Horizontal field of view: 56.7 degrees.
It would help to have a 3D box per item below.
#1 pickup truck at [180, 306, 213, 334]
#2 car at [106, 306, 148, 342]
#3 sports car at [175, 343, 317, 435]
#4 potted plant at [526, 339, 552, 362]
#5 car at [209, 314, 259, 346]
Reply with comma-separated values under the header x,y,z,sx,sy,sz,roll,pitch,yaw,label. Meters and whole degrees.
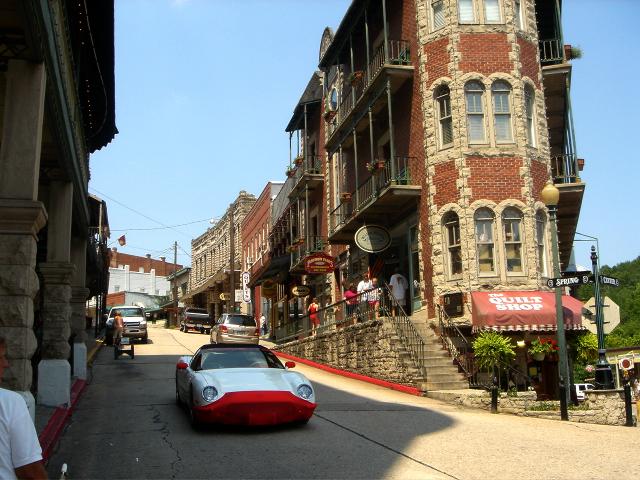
x,y,z,sx,sy,sz,roll,pitch,yaw,label
-9.536,6.268,45.993,2.639,2.010,1.586,-1,-10,13,pickup truck
-10.474,4.454,32.512,1.772,1.852,3.804,2,-14,-17,car
-1.498,2.783,11.393,2.076,1.522,2.554,7,-11,-28,sports car
6.909,3.471,18.790,0.728,0.812,0.753,3,-5,-44,potted plant
-3.783,4.015,27.084,1.942,1.314,1.405,1,-10,1,car
